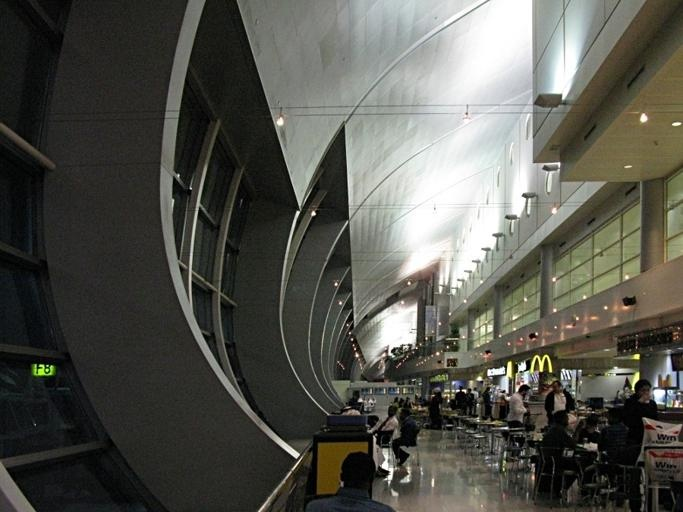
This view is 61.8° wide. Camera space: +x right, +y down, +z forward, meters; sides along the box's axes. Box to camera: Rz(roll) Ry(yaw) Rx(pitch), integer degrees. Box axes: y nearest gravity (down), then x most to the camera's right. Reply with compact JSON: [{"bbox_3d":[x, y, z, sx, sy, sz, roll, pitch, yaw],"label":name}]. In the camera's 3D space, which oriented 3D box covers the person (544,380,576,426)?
[{"bbox_3d":[5.865,4.214,15.247,0.628,1.766,0.520,-7,14,13],"label":"person"}]
